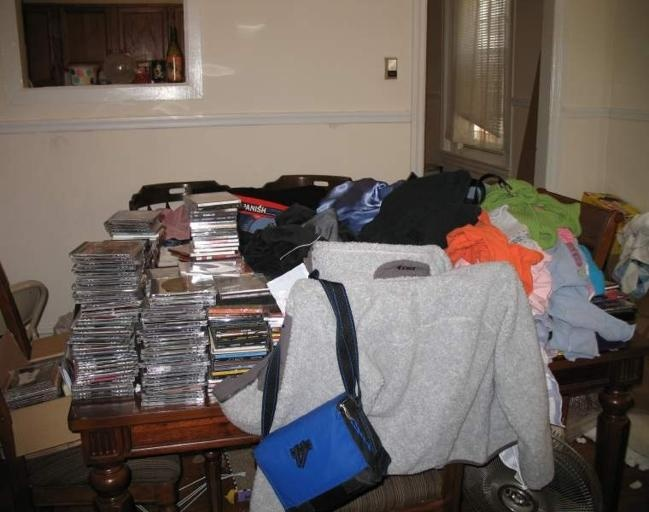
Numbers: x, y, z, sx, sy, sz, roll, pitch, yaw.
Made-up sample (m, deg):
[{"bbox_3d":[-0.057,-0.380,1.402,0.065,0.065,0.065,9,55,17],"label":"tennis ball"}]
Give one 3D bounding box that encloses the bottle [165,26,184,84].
[{"bbox_3d":[-1.016,-1.367,3.531,0.126,0.400,0.261,-7,12,-14],"label":"bottle"}]
